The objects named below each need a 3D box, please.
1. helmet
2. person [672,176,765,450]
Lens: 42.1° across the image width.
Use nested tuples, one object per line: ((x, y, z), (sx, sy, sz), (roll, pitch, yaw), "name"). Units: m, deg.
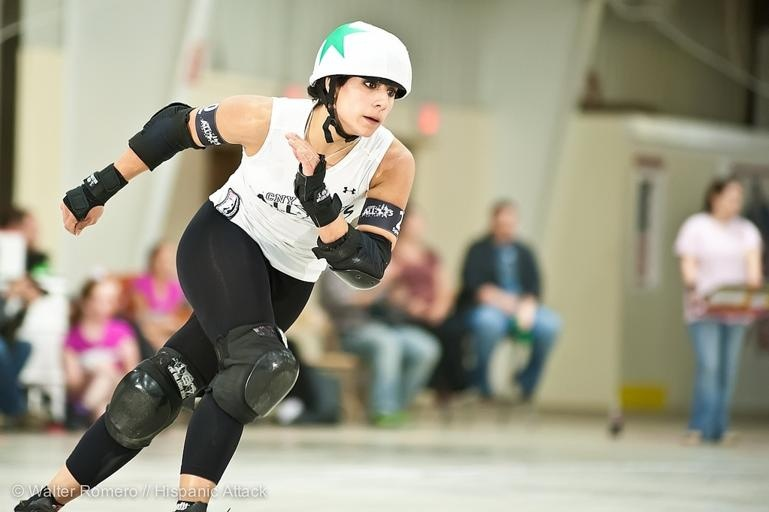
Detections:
((-0.105, -0.934, 4.618), (0.413, 0.270, 0.463), (3, 7, -7), "helmet")
((1.895, 0.287, 5.588), (0.484, 1.426, 0.371), (-2, 7, -2), "person")
